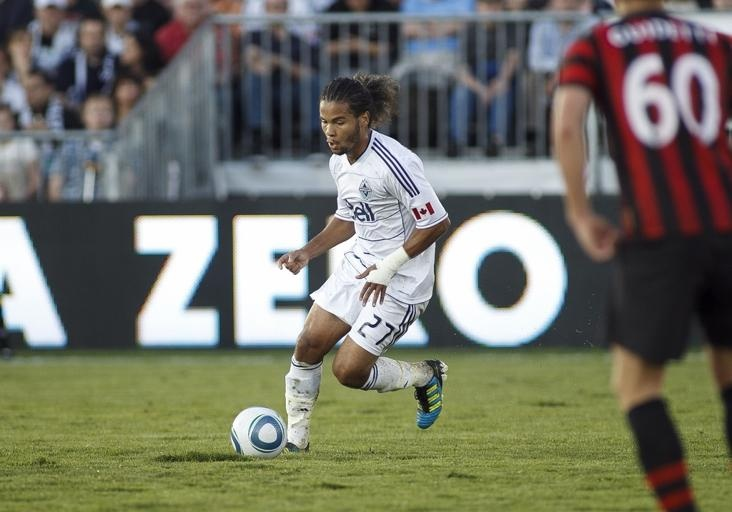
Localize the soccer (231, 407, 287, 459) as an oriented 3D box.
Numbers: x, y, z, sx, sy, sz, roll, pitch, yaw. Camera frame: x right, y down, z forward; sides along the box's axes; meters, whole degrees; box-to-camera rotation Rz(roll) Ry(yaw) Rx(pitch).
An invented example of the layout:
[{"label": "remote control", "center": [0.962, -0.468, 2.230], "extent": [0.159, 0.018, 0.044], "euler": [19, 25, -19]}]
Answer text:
[{"label": "soccer", "center": [-0.803, 1.230, 10.637], "extent": [0.571, 0.360, 0.351], "euler": [-5, 17, -17]}]
